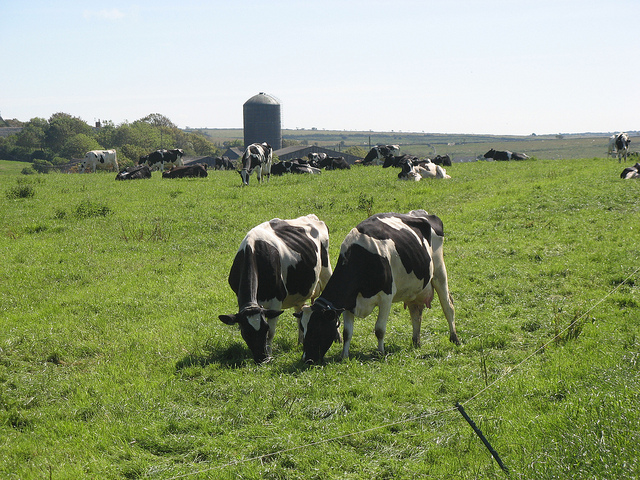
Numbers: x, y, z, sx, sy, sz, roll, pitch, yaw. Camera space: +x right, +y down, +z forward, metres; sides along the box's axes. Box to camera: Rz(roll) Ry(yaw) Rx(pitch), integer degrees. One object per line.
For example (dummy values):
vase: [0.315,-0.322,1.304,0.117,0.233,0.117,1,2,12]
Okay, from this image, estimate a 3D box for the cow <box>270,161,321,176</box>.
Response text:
cow: [-1.665,-4.663,45.529,3.118,0.794,1.993,-3,9,-21]

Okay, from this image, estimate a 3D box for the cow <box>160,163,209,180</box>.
cow: [-8.181,-4.202,42.971,2.670,0.738,2.499,-3,9,-22]

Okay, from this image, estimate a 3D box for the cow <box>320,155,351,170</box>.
cow: [1.123,-5.773,52.977,2.450,1.439,0.949,3,1,-19]

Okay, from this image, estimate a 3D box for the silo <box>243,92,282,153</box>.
silo: [-12.821,-23.302,157.891,9.780,18.330,11.036,0,1,-24]

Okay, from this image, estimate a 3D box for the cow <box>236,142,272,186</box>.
cow: [-3.476,-3.964,37.851,1.048,2.328,4.141,0,14,15]
